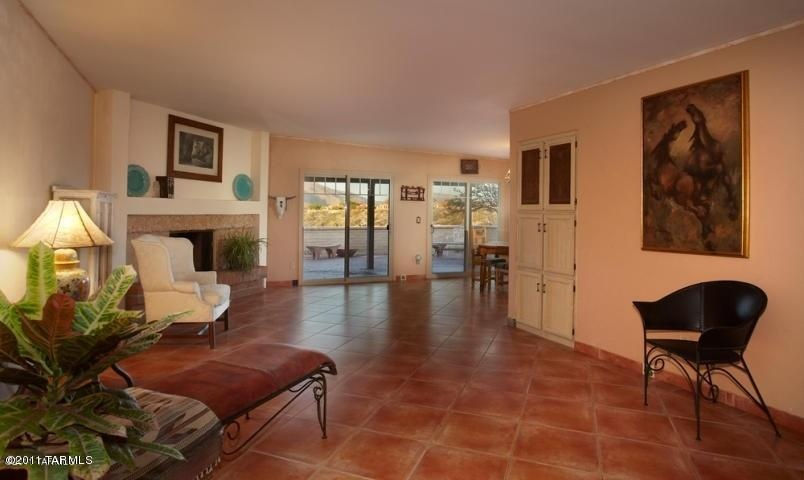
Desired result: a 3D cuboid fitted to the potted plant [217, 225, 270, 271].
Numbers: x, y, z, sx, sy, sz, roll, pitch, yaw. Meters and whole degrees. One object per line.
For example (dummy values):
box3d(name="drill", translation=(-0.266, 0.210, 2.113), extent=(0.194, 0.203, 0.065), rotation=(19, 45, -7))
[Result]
box3d(name="potted plant", translation=(-2.913, 0.165, 8.886), extent=(0.735, 0.618, 0.748), rotation=(3, 0, 32))

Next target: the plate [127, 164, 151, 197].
box3d(name="plate", translation=(-4.005, -0.895, 7.354), extent=(0.053, 0.387, 0.406), rotation=(-1, -2, 30))

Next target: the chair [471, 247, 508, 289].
box3d(name="chair", translation=(1.764, 0.550, 9.720), extent=(0.840, 0.871, 0.964), rotation=(1, 2, 41))

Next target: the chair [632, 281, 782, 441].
box3d(name="chair", translation=(2.997, 1.101, 4.776), extent=(0.889, 1.301, 1.165), rotation=(-3, 4, -2))

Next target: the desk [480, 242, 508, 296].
box3d(name="desk", translation=(1.817, 0.503, 9.925), extent=(0.545, 0.909, 2.015), rotation=(1, 3, 9))

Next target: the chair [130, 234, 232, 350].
box3d(name="chair", translation=(-2.854, 0.619, 6.386), extent=(1.014, 1.364, 0.970), rotation=(0, 3, -8))

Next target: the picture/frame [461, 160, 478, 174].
box3d(name="picture/frame", translation=(1.508, -1.680, 11.182), extent=(0.355, 0.237, 0.057), rotation=(0, 3, -16))

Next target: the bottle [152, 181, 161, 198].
box3d(name="bottle", translation=(-3.849, -0.798, 7.566), extent=(0.124, 0.244, 0.045), rotation=(1, 3, 18))

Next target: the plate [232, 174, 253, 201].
box3d(name="plate", translation=(-2.949, -0.982, 8.988), extent=(0.105, 0.474, 0.435), rotation=(2, 4, 27))

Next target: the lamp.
box3d(name="lamp", translation=(-3.624, 0.094, 5.130), extent=(0.769, 1.031, 0.504), rotation=(0, 3, 1))

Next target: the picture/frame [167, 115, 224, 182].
box3d(name="picture/frame", translation=(-3.461, -1.523, 8.022), extent=(0.079, 1.054, 1.169), rotation=(6, 5, 36))
